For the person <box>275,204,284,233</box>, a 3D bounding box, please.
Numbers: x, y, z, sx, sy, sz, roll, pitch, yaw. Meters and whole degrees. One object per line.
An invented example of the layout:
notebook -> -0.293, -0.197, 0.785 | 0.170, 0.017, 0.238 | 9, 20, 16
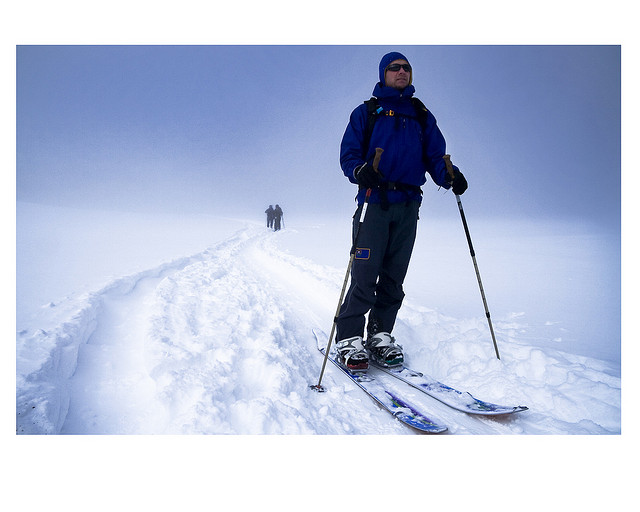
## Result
person -> -1.842, -1.679, 20.427 | 0.329, 1.094, 0.561 | 3, 4, -7

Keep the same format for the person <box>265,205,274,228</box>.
person -> -2.219, -1.762, 20.575 | 0.316, 0.966, 0.901 | 3, 4, -6
